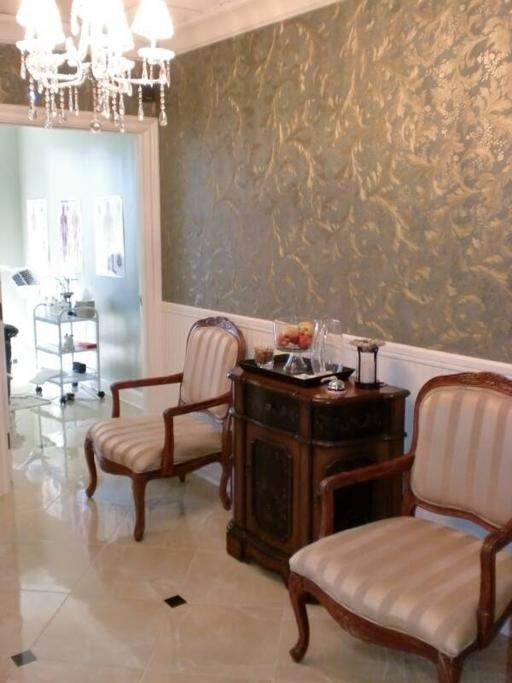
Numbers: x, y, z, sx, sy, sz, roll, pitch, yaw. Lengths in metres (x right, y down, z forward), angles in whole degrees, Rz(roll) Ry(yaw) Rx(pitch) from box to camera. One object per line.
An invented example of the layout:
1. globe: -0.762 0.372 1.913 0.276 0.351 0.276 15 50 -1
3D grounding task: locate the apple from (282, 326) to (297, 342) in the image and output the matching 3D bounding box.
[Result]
1. apple: 0.148 -0.036 2.392 0.066 0.066 0.039 0 4 1

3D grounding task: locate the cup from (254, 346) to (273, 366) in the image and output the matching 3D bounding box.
1. cup: 0.035 0.065 2.512 0.070 0.071 0.073 -1 3 0

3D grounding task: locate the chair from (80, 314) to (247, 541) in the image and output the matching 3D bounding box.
1. chair: -0.620 0.451 3.587 1.057 1.733 0.920 -3 7 -42

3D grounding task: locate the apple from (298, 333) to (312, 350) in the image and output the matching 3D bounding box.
1. apple: 0.211 -0.002 2.366 0.047 0.073 0.040 -13 -41 35

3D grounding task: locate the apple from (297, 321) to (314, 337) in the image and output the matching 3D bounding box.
1. apple: 0.220 -0.057 2.373 0.051 0.046 0.049 -4 9 -18

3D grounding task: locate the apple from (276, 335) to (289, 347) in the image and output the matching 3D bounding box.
1. apple: 0.116 -0.005 2.396 0.046 0.050 0.047 -23 -2 -32
